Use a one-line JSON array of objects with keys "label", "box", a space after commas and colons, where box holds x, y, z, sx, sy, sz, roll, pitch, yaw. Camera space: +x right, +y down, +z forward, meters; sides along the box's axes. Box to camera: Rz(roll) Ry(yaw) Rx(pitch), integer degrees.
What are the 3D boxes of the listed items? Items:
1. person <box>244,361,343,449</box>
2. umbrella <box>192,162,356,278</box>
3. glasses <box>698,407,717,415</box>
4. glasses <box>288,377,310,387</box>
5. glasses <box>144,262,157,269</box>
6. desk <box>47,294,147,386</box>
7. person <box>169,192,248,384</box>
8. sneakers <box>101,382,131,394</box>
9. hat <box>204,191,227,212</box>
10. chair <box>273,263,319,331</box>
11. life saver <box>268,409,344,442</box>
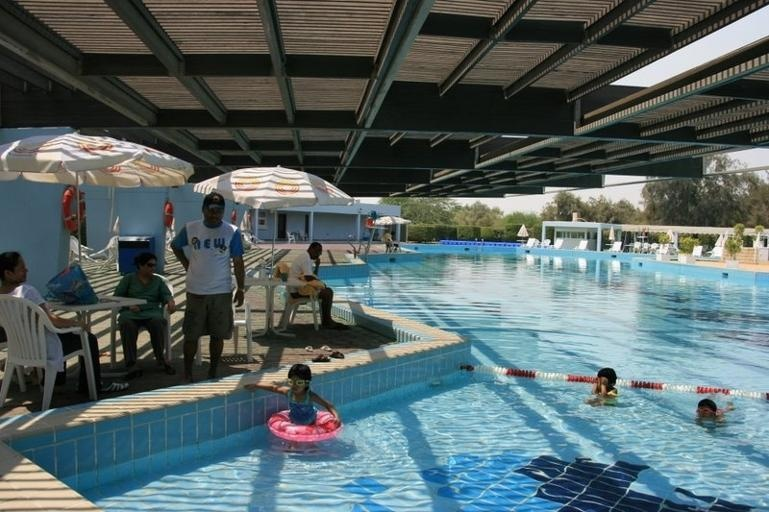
[{"label": "person", "box": [-1.023, 1.775, 6.604, 1.457, 0.706, 0.937, 1, 0, 22]}, {"label": "umbrella", "box": [-1.916, -0.967, 9.478, 2.444, 1.111, 2.133, 8, 15, 13]}, {"label": "glasses", "box": [4.465, 2.129, 7.383, 0.127, 0.046, 0.147, -2, 6, 9]}, {"label": "glasses", "box": [-0.982, 1.477, 6.315, 0.168, 0.038, 0.149, 2, -8, 13]}, {"label": "glasses", "box": [-3.205, 0.124, 7.331, 0.176, 0.045, 0.160, 4, 6, 26]}, {"label": "desk", "box": [-3.483, 1.059, 7.014, 1.430, 1.035, 1.268, 1, -2, -23]}, {"label": "person", "box": [-2.166, 0.391, 6.629, 0.809, 2.311, 0.396, 1, 8, -12]}, {"label": "sneakers", "box": [-3.186, 1.548, 6.323, 0.349, 0.105, 0.108, -1, 7, -15]}, {"label": "hat", "box": [-2.048, -0.654, 6.478, 0.222, 0.142, 0.287, 3, -1, -28]}, {"label": "chair", "box": [-1.783, 0.724, 10.030, 1.168, 1.066, 1.010, -7, -3, 3]}, {"label": "life saver", "box": [-0.950, 2.015, 6.412, 0.839, 0.238, 0.391, 0, 6, -11]}]
